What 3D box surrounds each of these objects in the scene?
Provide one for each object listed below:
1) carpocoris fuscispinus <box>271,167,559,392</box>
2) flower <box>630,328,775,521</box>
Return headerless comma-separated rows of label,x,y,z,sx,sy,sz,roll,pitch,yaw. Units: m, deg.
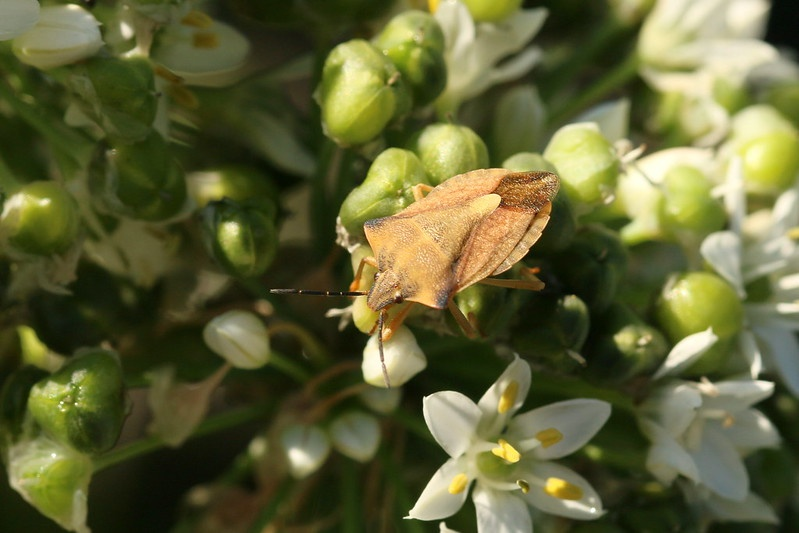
carpocoris fuscispinus,0.065,0.008,1.752,0.457,0.130,0.323,-38,66,-5
flower,0.574,0.344,1.876,0.162,0.365,0.297,4,37,48
